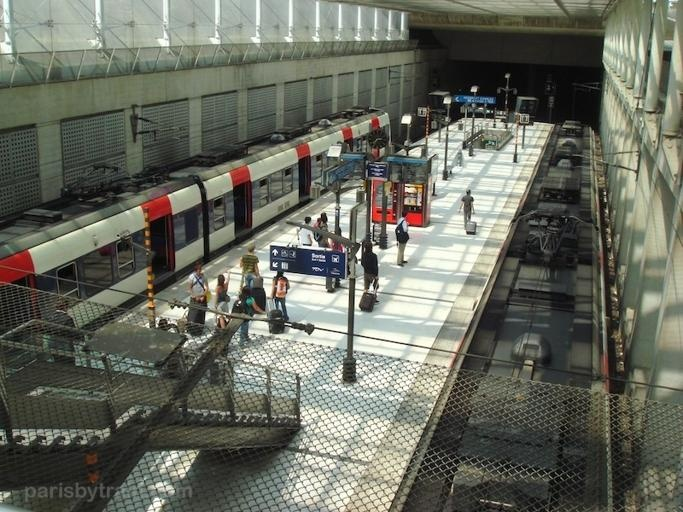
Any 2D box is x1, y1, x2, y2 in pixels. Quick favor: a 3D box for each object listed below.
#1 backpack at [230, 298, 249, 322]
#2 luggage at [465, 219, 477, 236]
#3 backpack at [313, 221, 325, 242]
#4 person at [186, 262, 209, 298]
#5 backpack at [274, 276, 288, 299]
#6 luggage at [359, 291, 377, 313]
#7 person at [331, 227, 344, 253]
[{"bbox_3d":[-2.452,1.254,12.711,0.400,0.461,1.028,-5,20,-12],"label":"backpack"},{"bbox_3d":[5.445,-1.185,21.820,0.410,0.390,0.640,3,15,24],"label":"luggage"},{"bbox_3d":[-0.623,-0.705,15.120,0.402,0.678,0.559,4,14,8],"label":"backpack"},{"bbox_3d":[-3.588,0.695,13.035,0.436,1.077,1.069,-6,20,-15],"label":"person"},{"bbox_3d":[-1.583,0.850,13.812,0.329,0.735,0.361,-3,20,-6],"label":"backpack"},{"bbox_3d":[0.761,1.329,15.095,0.409,0.438,0.570,4,20,13],"label":"luggage"},{"bbox_3d":[-0.132,-0.509,16.709,0.355,0.860,0.286,3,12,11],"label":"person"}]
